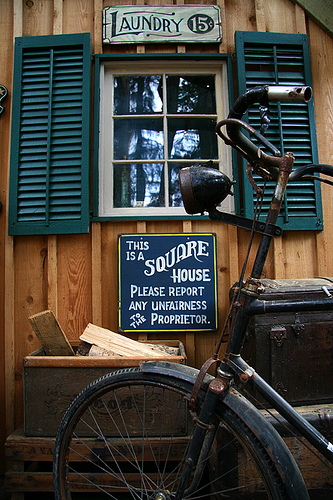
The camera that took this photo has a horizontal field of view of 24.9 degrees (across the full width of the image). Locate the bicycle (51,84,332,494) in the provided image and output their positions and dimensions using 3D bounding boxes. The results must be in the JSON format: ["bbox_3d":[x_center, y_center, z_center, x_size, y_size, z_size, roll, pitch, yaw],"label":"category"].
[{"bbox_3d":[0.157,0.098,3.723,1.411,2.352,1.485,1,-7,-12],"label":"bicycle"}]

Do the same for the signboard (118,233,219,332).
[{"bbox_3d":[-0.005,0.212,4.409,0.543,0.575,0.058,0,-2,1],"label":"signboard"}]
